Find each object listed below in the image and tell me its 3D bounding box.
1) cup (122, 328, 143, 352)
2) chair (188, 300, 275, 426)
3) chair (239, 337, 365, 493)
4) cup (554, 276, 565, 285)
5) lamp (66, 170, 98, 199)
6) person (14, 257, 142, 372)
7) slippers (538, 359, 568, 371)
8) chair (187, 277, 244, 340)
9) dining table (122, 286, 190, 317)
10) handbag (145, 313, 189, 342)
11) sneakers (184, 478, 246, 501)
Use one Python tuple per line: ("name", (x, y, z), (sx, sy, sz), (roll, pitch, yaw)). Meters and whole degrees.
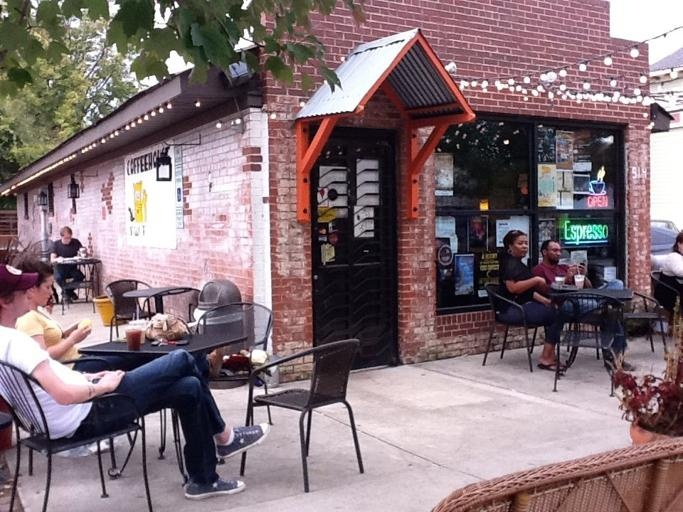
("cup", (-1.683, 0.677, 5.052), (0.170, 0.185, 0.169), (-1, -5, 0))
("chair", (-1.168, 1.036, 7.136), (0.984, 1.312, 0.988), (-1, -7, 17))
("chair", (-0.305, 1.230, 5.034), (0.809, 1.105, 0.808), (-3, -3, 44))
("cup", (2.874, 0.324, 8.236), (0.114, 0.086, 0.122), (1, -6, 0))
("lamp", (-6.534, -1.819, 15.876), (0.570, 0.994, 0.999), (3, -1, -42))
("person", (-2.036, 0.472, 5.151), (1.178, 0.928, 0.534), (-9, 5, -18))
("slippers", (2.685, 1.348, 7.938), (0.451, 0.125, 0.181), (-3, 1, 20))
("chair", (-1.455, 0.636, 7.632), (0.723, 0.831, 0.609), (3, -1, -10))
("dining table", (-2.580, 0.525, 8.788), (0.629, 0.401, 0.654), (-1, 4, -7))
("handbag", (-1.555, 0.645, 5.589), (0.441, 0.236, 0.588), (-1, -2, -23))
("sneakers", (-0.928, 1.668, 4.654), (0.437, 0.175, 0.154), (-4, 2, -20))
